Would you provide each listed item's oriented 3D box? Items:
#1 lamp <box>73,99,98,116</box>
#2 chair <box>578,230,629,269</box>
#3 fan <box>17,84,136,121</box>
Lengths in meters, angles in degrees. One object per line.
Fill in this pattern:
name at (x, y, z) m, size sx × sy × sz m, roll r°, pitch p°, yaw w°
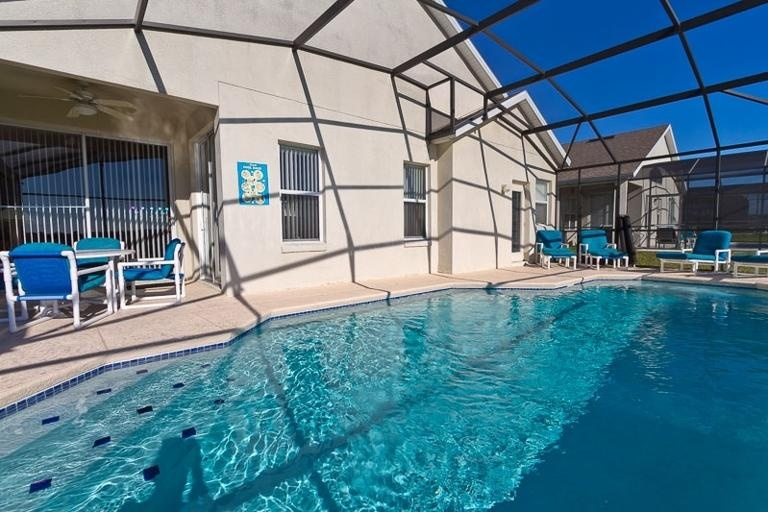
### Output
lamp at (-5.835, -2.971, 9.137) m, size 0.338 × 0.220 × 0.281 m, roll -9°, pitch 17°, yaw -35°
chair at (6.763, -0.261, 14.323) m, size 1.196 × 1.351 × 1.567 m, roll -1°, pitch 3°, yaw -3°
fan at (-5.905, -3.128, 9.130) m, size 1.514 × 0.533 × 1.660 m, roll -12°, pitch 6°, yaw -29°
